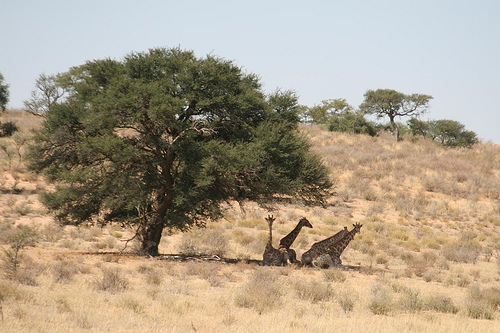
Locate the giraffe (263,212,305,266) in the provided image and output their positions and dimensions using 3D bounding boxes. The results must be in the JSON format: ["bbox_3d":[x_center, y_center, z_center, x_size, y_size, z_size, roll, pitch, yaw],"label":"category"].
[{"bbox_3d":[3.195,5.941,48.689,4.301,5.172,1.745,1,-3,-13],"label":"giraffe"}]

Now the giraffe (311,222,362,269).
[{"bbox_3d":[5.644,5.990,48.710,2.470,3.621,4.862,10,-9,-35],"label":"giraffe"}]

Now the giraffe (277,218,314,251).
[{"bbox_3d":[3.256,4.552,49.817,3.000,3.005,1.561,3,-8,23],"label":"giraffe"}]
